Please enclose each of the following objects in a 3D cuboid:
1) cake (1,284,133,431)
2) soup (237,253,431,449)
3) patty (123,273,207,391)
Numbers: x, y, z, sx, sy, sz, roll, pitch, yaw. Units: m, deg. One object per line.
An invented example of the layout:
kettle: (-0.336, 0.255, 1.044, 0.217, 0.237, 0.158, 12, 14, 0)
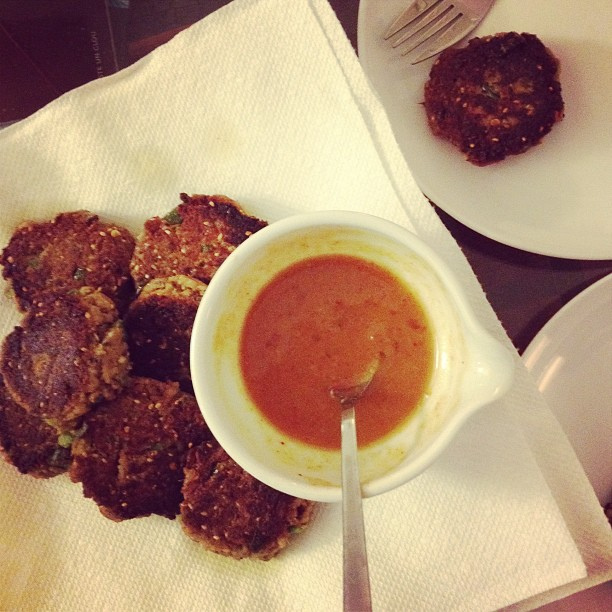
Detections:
cake: (-0.550, 0.103, 1.513, 0.286, 0.050, 0.292, -14, 80, -1)
soup: (0.060, 0.096, 1.427, 0.412, 0.073, 0.409, -1, 80, 1)
patty: (-0.331, 0.060, 1.515, 0.276, 0.058, 0.215, 0, 97, 5)
